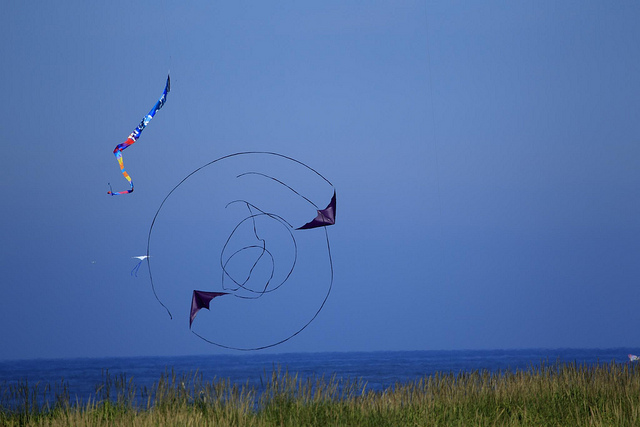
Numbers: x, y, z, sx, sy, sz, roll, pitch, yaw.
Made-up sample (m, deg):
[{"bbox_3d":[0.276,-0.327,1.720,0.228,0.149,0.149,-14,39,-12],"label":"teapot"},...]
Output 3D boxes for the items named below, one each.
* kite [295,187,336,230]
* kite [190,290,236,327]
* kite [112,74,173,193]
[{"bbox_3d":[0.032,0.052,17.445,0.118,0.640,1.533,-50,-12,0],"label":"kite"},{"bbox_3d":[-2.008,1.598,17.571,0.519,0.591,0.586,-3,8,-21],"label":"kite"},{"bbox_3d":[-3.240,-1.412,18.425,1.181,2.218,2.998,-1,8,-10],"label":"kite"}]
